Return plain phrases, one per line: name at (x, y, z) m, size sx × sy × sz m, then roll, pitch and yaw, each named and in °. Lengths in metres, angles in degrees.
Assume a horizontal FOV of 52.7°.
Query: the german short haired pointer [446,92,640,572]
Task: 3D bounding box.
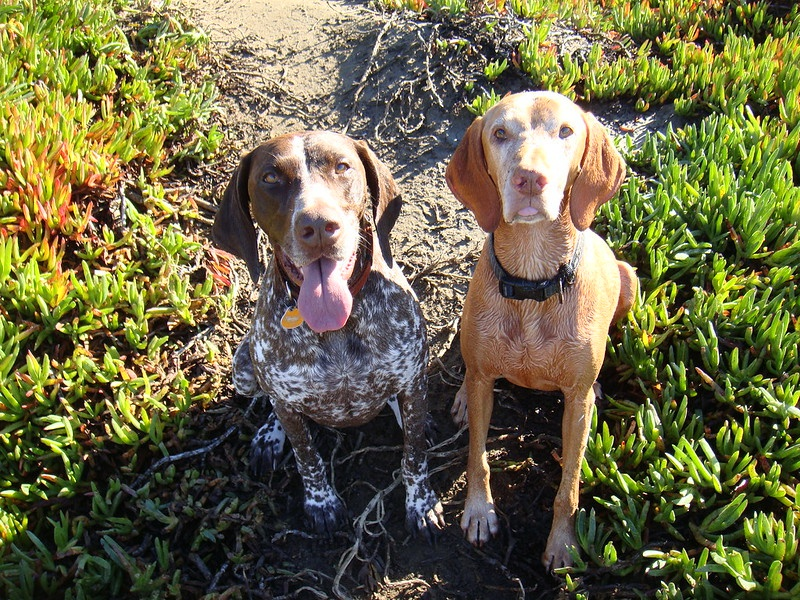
german short haired pointer at (0.797, 0.124, 5.067) m, size 1.116 × 2.625 × 1.341 m, roll 10°, pitch 33°, yaw 14°
